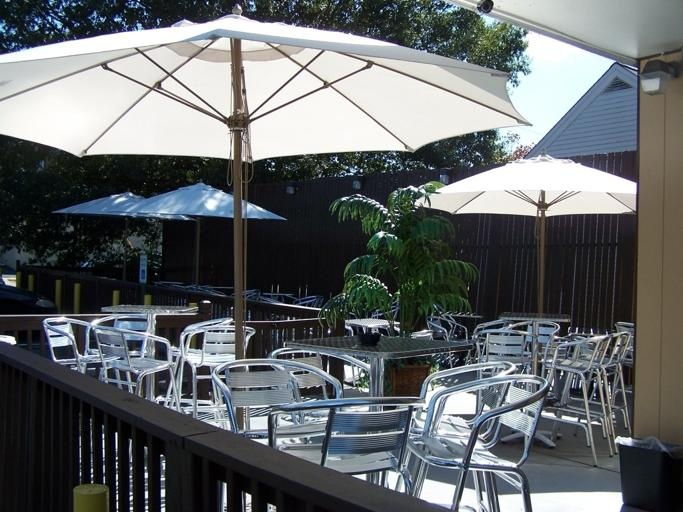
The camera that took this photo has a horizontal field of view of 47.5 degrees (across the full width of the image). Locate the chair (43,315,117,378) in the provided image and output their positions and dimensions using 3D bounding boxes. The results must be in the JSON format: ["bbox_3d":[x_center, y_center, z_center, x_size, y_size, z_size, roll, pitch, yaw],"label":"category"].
[{"bbox_3d":[-2.597,0.889,8.042,0.691,0.670,0.552,-10,11,28],"label":"chair"}]

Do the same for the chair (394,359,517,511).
[{"bbox_3d":[0.972,1.389,6.174,0.930,1.509,1.093,4,-3,-2],"label":"chair"}]

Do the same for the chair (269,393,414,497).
[{"bbox_3d":[-0.032,1.107,4.765,0.916,0.605,0.973,4,-3,-19],"label":"chair"}]

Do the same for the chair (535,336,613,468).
[{"bbox_3d":[2.441,1.328,7.679,0.526,0.974,0.515,1,2,-2],"label":"chair"}]

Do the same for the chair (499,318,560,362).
[{"bbox_3d":[1.930,0.868,7.939,0.344,0.498,0.323,3,10,33],"label":"chair"}]

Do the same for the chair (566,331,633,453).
[{"bbox_3d":[2.614,1.304,7.796,0.486,0.958,0.484,-1,-3,-39],"label":"chair"}]

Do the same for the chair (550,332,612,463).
[{"bbox_3d":[2.259,1.293,7.593,0.529,1.094,0.519,9,8,12],"label":"chair"}]

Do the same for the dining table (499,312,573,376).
[{"bbox_3d":[1.978,0.955,7.921,0.690,0.643,0.731,-1,-5,40],"label":"dining table"}]
